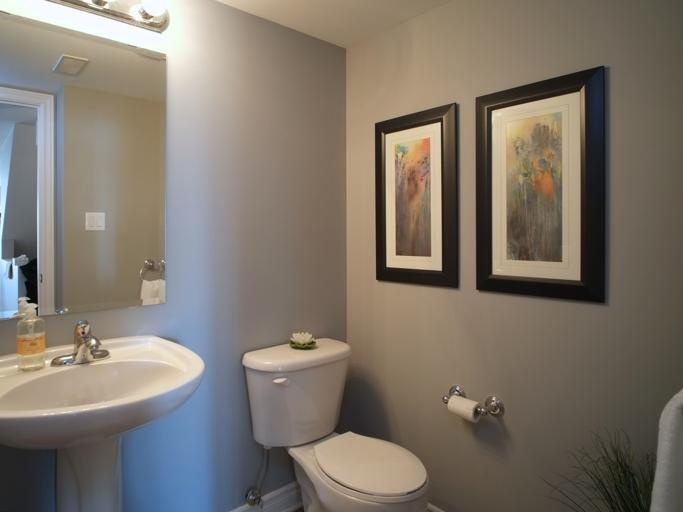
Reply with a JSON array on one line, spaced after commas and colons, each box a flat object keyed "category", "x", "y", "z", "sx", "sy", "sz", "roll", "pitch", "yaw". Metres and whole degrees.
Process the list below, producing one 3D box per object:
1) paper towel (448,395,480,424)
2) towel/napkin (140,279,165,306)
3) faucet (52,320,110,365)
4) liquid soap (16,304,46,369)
[{"category": "paper towel", "x": 0.579, "y": 0.718, "z": 2.369, "sx": 0.145, "sy": 0.114, "sz": 0.138, "roll": 4, "pitch": 5, "yaw": 32}, {"category": "towel/napkin", "x": -0.862, "y": 0.161, "z": 2.263, "sx": 0.106, "sy": 0.127, "sz": 0.019, "roll": 1, "pitch": -1, "yaw": -38}, {"category": "faucet", "x": -1.060, "y": 0.341, "z": 2.043, "sx": 0.203, "sy": 0.172, "sz": 0.110, "roll": -2, "pitch": 4, "yaw": -29}, {"category": "liquid soap", "x": -1.207, "y": 0.308, "z": 1.950, "sx": 0.088, "sy": 0.282, "sz": 0.059, "roll": -4, "pitch": 17, "yaw": -38}]
